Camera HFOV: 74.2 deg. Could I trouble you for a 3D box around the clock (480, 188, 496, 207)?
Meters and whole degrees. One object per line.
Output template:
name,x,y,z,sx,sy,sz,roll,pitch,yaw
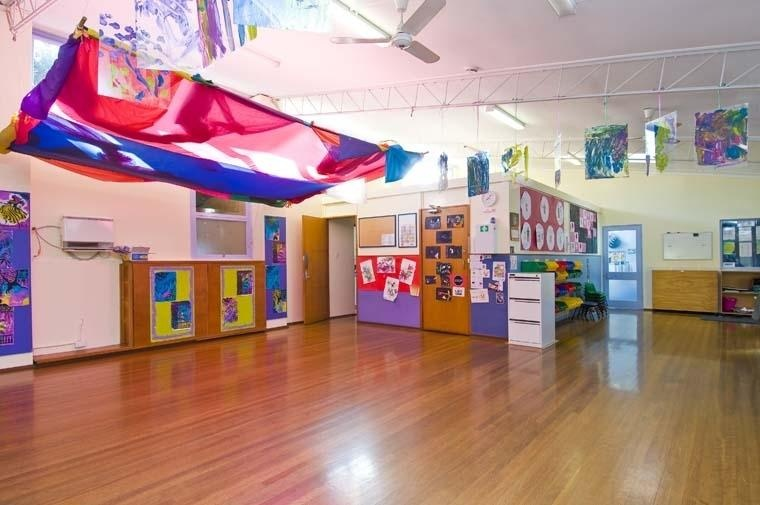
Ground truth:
clock,2.022,-1.036,9.399,0.066,0.324,0.319,4,-8,-44

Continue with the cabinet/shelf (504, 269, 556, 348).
cabinet/shelf,2.705,1.020,8.998,0.854,1.305,0.626,3,12,15
